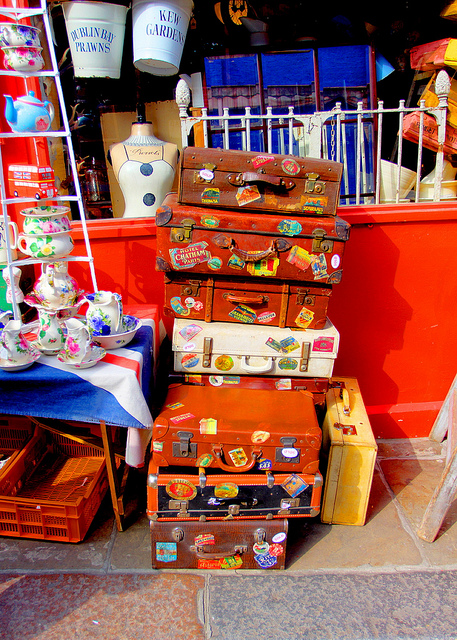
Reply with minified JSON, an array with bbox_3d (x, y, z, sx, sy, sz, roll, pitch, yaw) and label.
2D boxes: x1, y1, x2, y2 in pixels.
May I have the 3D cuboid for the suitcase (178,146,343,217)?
[{"bbox_3d":[0.148,-0.689,2.691,0.865,0.287,0.674,3,4,-12],"label":"suitcase"}]

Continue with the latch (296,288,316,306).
[{"bbox_3d":[0.393,-0.112,2.568,0.109,0.077,0.103,3,-16,2],"label":"latch"}]

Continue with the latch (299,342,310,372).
[{"bbox_3d":[0.397,0.196,2.579,0.047,0.168,0.025,2,24,8],"label":"latch"}]

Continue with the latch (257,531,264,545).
[{"bbox_3d":[0.149,1.024,2.303,0.030,0.093,0.020,-1,23,3],"label":"latch"}]

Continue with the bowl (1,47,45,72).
[{"bbox_3d":[-0.950,-1.188,2.279,0.159,0.074,0.147,2,30,-1],"label":"bowl"}]

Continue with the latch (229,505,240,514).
[{"bbox_3d":[0.022,0.871,2.270,0.047,0.039,0.016,-1,14,-3],"label":"latch"}]

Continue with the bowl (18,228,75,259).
[{"bbox_3d":[-0.886,-0.370,2.365,0.193,0.088,0.149,4,19,11],"label":"bowl"}]

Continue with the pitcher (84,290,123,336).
[{"bbox_3d":[-0.607,-0.043,2.380,0.168,0.198,0.219,-9,24,-17],"label":"pitcher"}]

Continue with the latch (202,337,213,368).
[{"bbox_3d":[-0.111,0.171,2.563,0.060,0.170,0.026,-3,23,-2],"label":"latch"}]

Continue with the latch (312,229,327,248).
[{"bbox_3d":[0.443,-0.409,2.419,0.093,0.118,0.023,0,33,3],"label":"latch"}]

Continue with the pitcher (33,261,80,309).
[{"bbox_3d":[-0.855,-0.153,2.414,0.217,0.266,0.268,1,12,-5],"label":"pitcher"}]

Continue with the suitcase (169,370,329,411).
[{"bbox_3d":[0.152,0.272,2.618,0.804,0.230,0.568,1,16,-2],"label":"suitcase"}]

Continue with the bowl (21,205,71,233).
[{"bbox_3d":[-0.891,-0.498,2.417,0.215,0.100,0.294,-9,23,-19],"label":"bowl"}]

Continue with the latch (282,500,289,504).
[{"bbox_3d":[0.268,0.855,2.317,0.021,0.014,0.013,0,0,4],"label":"latch"}]

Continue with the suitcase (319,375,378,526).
[{"bbox_3d":[0.681,0.788,2.889,0.287,0.564,0.576,3,23,11],"label":"suitcase"}]

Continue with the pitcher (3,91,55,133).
[{"bbox_3d":[-0.924,-0.963,2.335,0.276,0.206,0.222,-11,31,-26],"label":"pitcher"}]

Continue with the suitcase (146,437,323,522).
[{"bbox_3d":[0.025,0.623,2.712,1.020,0.364,0.798,-1,25,-3],"label":"suitcase"}]

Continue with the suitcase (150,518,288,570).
[{"bbox_3d":[-0.037,1.028,2.512,0.669,0.269,0.480,-1,12,-3],"label":"suitcase"}]

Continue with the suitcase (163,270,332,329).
[{"bbox_3d":[0.112,-0.316,2.930,1.117,0.300,0.767,2,26,0],"label":"suitcase"}]

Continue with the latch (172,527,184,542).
[{"bbox_3d":[-0.236,0.984,2.266,0.071,0.068,0.017,4,4,-7],"label":"latch"}]

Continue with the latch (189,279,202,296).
[{"bbox_3d":[-0.175,-0.173,2.548,0.062,0.060,0.021,6,20,-3],"label":"latch"}]

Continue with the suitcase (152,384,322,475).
[{"bbox_3d":[0.045,0.521,2.455,0.790,0.209,0.535,3,18,3],"label":"suitcase"}]

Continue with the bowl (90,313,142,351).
[{"bbox_3d":[-0.528,0.075,2.446,0.130,0.114,0.289,8,24,22],"label":"bowl"}]

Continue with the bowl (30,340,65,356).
[{"bbox_3d":[-0.871,0.138,2.337,0.114,0.029,0.112,14,25,-7],"label":"bowl"}]
